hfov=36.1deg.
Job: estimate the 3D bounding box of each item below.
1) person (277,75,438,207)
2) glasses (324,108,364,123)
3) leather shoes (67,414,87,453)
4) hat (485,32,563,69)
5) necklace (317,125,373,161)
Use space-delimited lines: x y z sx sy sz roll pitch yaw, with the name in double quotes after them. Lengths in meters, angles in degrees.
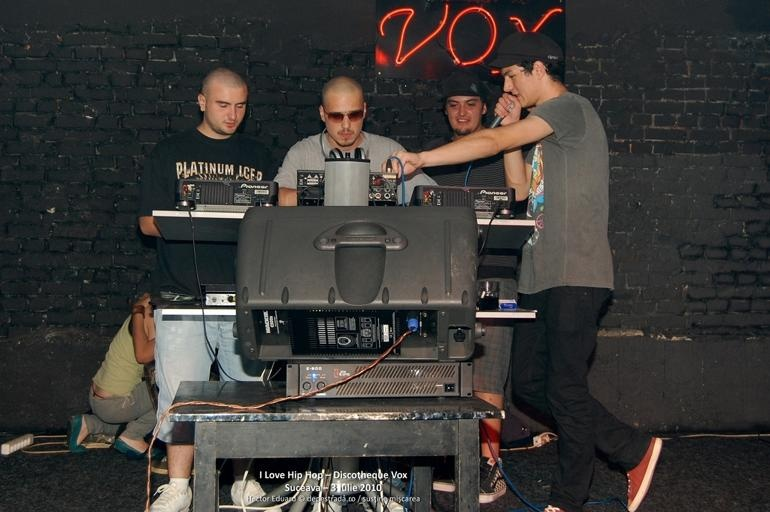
-0.204 -0.807 7.932 1.375 0.839 0.877 0 12 0 "person"
-0.268 -0.927 7.819 0.248 0.073 0.095 -1 9 -4 "glasses"
-2.162 1.267 8.342 0.189 0.218 0.084 8 -7 -42 "leather shoes"
0.945 -1.343 7.694 0.369 0.154 0.246 1 13 3 "hat"
-0.268 -0.735 7.736 0.453 0.164 0.385 1 26 -5 "necklace"
